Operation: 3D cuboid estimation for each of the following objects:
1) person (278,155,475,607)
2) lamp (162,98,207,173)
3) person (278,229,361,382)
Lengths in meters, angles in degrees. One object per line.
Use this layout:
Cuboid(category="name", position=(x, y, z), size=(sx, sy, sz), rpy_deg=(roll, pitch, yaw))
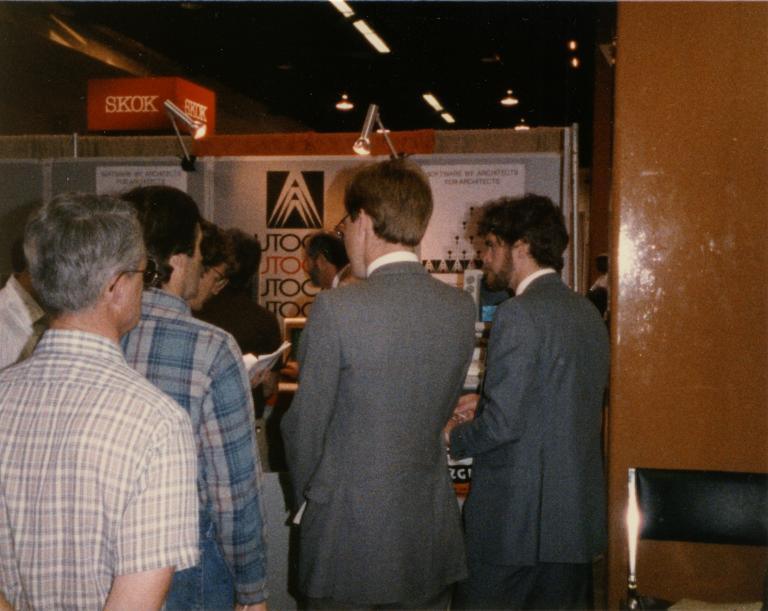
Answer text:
Cuboid(category="person", position=(-0.010, 0.283, 3.012), size=(0.651, 1.574, 0.295), rpy_deg=(3, 3, 1))
Cuboid(category="lamp", position=(-1.166, -0.983, 5.127), size=(0.228, 0.409, 1.007), rpy_deg=(2, 3, -14))
Cuboid(category="person", position=(-0.286, 0.010, 4.745), size=(0.331, 0.840, 0.329), rpy_deg=(4, -15, 6))
